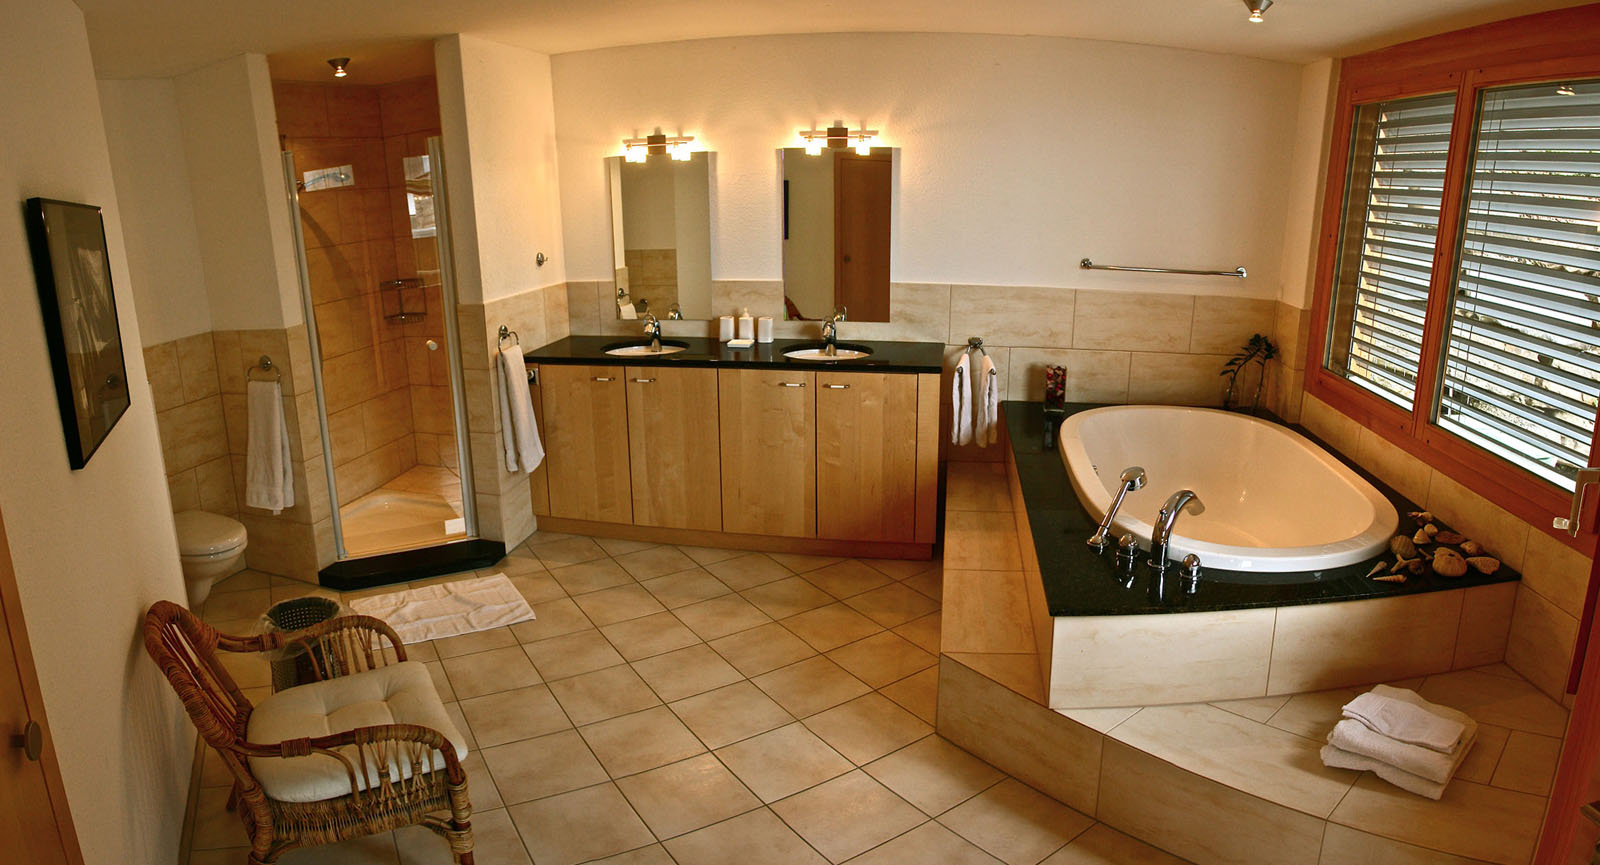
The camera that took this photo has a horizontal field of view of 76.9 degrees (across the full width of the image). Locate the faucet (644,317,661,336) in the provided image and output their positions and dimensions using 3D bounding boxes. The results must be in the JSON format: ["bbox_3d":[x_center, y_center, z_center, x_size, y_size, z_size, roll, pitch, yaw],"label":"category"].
[{"bbox_3d":[-1.131,-0.788,7.625,0.159,0.145,0.115,3,2,-14],"label":"faucet"}]

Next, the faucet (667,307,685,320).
[{"bbox_3d":[-0.958,-0.891,7.647,0.102,0.070,0.077,-7,19,-18],"label":"faucet"}]

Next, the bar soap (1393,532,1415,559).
[{"bbox_3d":[3.320,0.639,5.592,0.113,0.126,0.075,-13,-7,-7],"label":"bar soap"}]

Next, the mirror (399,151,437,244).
[{"bbox_3d":[-2.963,-1.804,7.812,0.156,0.640,0.607,-18,23,-34],"label":"mirror"}]

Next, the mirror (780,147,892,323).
[{"bbox_3d":[0.259,-1.445,7.450,0.820,1.235,0.306,-3,20,1],"label":"mirror"}]

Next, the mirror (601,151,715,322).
[{"bbox_3d":[-1.034,-1.463,7.610,0.775,1.207,0.270,0,20,11],"label":"mirror"}]

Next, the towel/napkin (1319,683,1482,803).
[{"bbox_3d":[2.972,1.546,5.013,0.675,0.327,0.482,-18,23,-40],"label":"towel/napkin"}]

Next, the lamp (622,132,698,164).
[{"bbox_3d":[-1.052,-2.108,7.469,0.576,0.212,0.158,-4,19,-5],"label":"lamp"}]

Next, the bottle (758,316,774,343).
[{"bbox_3d":[-0.270,-0.760,7.532,0.126,0.183,0.228,-4,18,-1],"label":"bottle"}]

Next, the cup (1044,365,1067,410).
[{"bbox_3d":[1.853,-0.323,7.375,0.178,0.281,0.199,1,19,12],"label":"cup"}]

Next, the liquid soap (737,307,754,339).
[{"bbox_3d":[-0.423,-0.799,7.566,0.126,0.222,0.201,-4,19,0],"label":"liquid soap"}]

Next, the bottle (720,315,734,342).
[{"bbox_3d":[-0.568,-0.764,7.549,0.130,0.180,0.153,-1,19,8],"label":"bottle"}]
